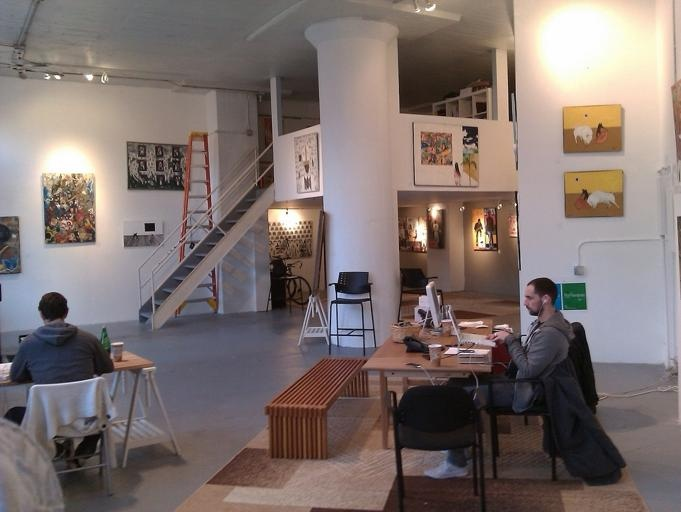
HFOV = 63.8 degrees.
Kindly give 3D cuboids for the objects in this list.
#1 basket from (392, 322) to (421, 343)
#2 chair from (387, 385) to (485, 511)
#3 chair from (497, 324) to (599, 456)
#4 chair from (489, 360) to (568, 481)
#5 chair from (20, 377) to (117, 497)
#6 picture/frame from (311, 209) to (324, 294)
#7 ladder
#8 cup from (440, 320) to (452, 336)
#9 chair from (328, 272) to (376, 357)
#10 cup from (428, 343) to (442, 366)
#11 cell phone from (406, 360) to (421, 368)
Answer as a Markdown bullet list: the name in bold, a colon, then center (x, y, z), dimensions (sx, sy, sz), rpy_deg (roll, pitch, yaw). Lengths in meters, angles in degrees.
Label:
- **basket**: center (0.675, 0.768, 5.580), dimensions (0.227, 0.140, 0.172), rpy_deg (-2, 4, 6)
- **chair**: center (0.716, 1.294, 4.204), dimensions (0.761, 1.297, 0.913), rpy_deg (-1, 10, 7)
- **chair**: center (1.986, 1.194, 5.287), dimensions (1.067, 1.465, 1.051), rpy_deg (0, -1, 5)
- **chair**: center (1.571, 1.346, 4.700), dimensions (0.567, 0.934, 0.565), rpy_deg (-3, -5, 9)
- **chair**: center (-2.194, 1.451, 4.439), dimensions (0.656, 0.969, 0.458), rpy_deg (-5, 4, -32)
- **picture/frame**: center (-0.365, -0.077, 9.223), dimensions (0.040, 1.439, 0.278), rpy_deg (4, 1, -17)
- **ladder**: center (-3.295, -0.745, 12.481), dimensions (0.809, 4.076, 0.663), rpy_deg (-4, 3, -17)
- **cup**: center (1.078, 0.726, 5.591), dimensions (0.121, 0.128, 0.125), rpy_deg (1, 10, 0)
- **chair**: center (0.181, 0.859, 8.722), dimensions (0.625, 1.202, 0.573), rpy_deg (-1, 1, 12)
- **cup**: center (0.803, 0.856, 4.722), dimensions (0.138, 0.146, 0.143), rpy_deg (-1, 1, 0)
- **cell phone**: center (0.631, 0.922, 4.649), dimensions (0.092, 0.031, 0.160), rpy_deg (-5, 4, -41)
